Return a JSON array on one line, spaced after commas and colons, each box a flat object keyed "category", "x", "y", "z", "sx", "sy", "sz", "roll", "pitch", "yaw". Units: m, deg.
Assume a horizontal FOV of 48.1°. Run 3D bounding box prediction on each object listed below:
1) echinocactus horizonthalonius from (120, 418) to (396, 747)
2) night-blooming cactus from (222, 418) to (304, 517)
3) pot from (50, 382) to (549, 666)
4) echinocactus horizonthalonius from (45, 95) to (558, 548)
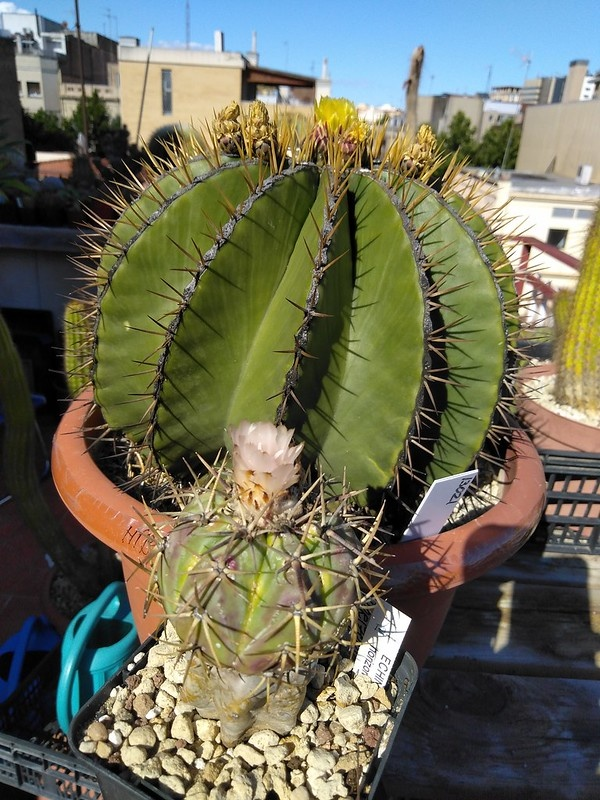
[{"category": "echinocactus horizonthalonius", "x": -0.040, "y": 0.219, "z": 0.770, "sx": 0.235, "sy": 0.390, "sz": 0.235, "roll": 17, "pitch": 26, "yaw": 23}, {"category": "night-blooming cactus", "x": -0.037, "y": 0.069, "z": 0.764, "sx": 0.100, "sy": 0.084, "sz": 0.101, "roll": -17, "pitch": 42, "yaw": -31}, {"category": "pot", "x": 0.006, "y": 0.250, "z": 1.357, "sx": 0.776, "sy": 0.501, "sz": 0.695, "roll": 2, "pitch": 31, "yaw": 3}, {"category": "echinocactus horizonthalonius", "x": 0.016, "y": -0.161, "z": 1.352, "sx": 0.805, "sy": 0.746, "sz": 0.779, "roll": 18, "pitch": 26, "yaw": 33}]
